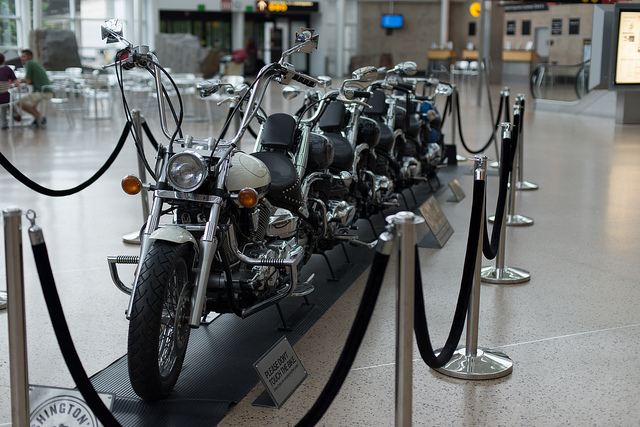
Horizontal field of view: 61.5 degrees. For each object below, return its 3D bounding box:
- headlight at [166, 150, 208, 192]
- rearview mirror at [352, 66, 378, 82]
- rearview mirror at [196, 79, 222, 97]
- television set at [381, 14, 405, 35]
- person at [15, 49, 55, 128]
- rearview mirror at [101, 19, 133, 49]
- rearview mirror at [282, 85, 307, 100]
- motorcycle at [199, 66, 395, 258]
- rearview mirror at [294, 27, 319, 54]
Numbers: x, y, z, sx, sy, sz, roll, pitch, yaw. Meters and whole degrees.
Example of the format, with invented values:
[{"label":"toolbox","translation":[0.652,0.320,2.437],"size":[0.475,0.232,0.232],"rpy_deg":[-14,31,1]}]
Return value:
[{"label":"headlight","translation":[-0.635,-0.194,2.556],"size":[0.202,0.194,0.059],"rpy_deg":[3,14,15]},{"label":"rearview mirror","translation":[0.325,-0.986,3.913],"size":[0.170,0.079,0.134],"rpy_deg":[-1,31,8]},{"label":"rearview mirror","translation":[-0.617,-0.700,3.005],"size":[0.128,0.099,0.054],"rpy_deg":[-32,0,-9]},{"label":"television set","translation":[3.579,-9.215,26.370],"size":[1.260,0.955,0.394],"rpy_deg":[-8,15,-28]},{"label":"person","translation":[-5.380,-2.261,10.240],"size":[0.591,1.242,0.805],"rpy_deg":[-8,15,-27]},{"label":"rearview mirror","translation":[-1.044,-0.926,2.797],"size":[0.191,0.126,0.113],"rpy_deg":[23,35,35]},{"label":"rearview mirror","translation":[-0.192,-0.823,3.681],"size":[0.132,0.061,0.099],"rpy_deg":[-1,8,0]},{"label":"motorcycle","translation":[0.023,-0.446,4.249],"size":[1.025,1.117,1.679],"rpy_deg":[1,13,25]},{"label":"rearview mirror","translation":[-0.074,-0.942,2.958],"size":[0.132,0.140,0.037],"rpy_deg":[8,-3,5]}]
